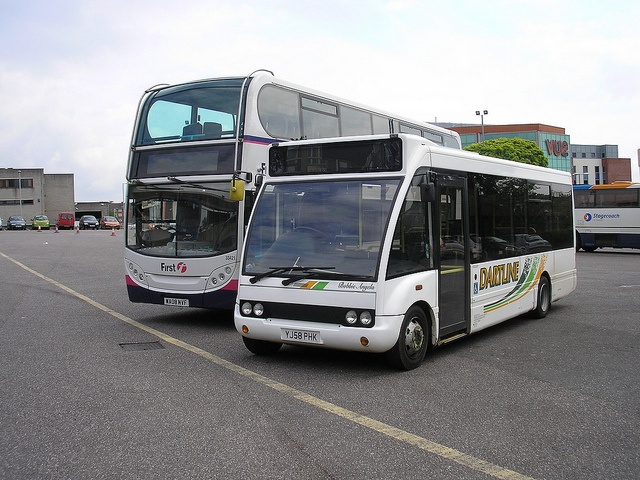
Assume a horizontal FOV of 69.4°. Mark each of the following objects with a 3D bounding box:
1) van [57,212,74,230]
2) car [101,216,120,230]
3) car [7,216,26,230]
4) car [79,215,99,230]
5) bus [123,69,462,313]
[{"bbox_3d":[-41.510,-3.107,75.492,3.030,2.715,1.857,0,1,32],"label":"van"},{"bbox_3d":[-33.062,-2.641,72.800,4.079,1.731,1.781,1,1,45],"label":"car"},{"bbox_3d":[-47.282,-2.570,72.125,2.899,1.770,1.577,1,1,38],"label":"car"},{"bbox_3d":[-37.852,-2.693,75.530,1.828,1.632,3.185,0,-4,-26],"label":"car"},{"bbox_3d":[-0.385,-1.264,13.318,3.433,4.541,9.962,0,0,39],"label":"bus"}]
